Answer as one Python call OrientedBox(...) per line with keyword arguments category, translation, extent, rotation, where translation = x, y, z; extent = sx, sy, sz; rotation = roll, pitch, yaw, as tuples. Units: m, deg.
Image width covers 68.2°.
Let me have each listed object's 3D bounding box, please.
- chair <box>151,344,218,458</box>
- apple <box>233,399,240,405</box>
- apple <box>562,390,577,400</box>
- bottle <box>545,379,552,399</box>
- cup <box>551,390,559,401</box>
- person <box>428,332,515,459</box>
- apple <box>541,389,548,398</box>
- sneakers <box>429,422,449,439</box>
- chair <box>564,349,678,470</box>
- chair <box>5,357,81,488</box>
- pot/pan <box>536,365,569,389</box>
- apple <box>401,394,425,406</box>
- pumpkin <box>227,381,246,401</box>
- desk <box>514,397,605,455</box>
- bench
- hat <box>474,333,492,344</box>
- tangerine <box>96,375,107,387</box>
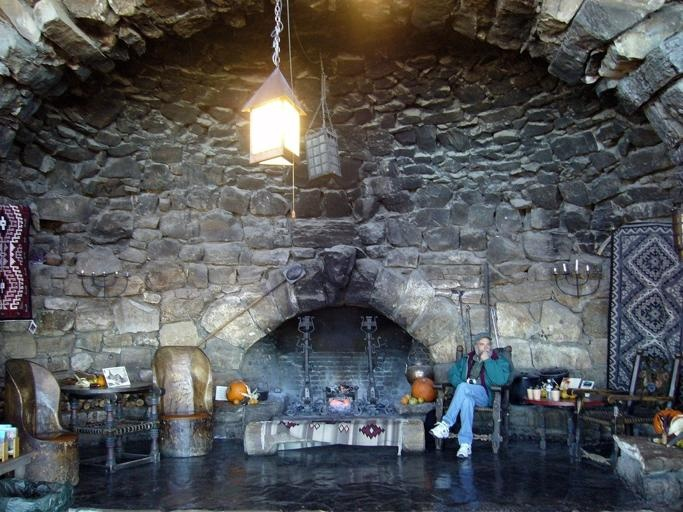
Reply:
OrientedBox(category="chair", translation=(-1.761, 1.589, 5.599), extent=(0.656, 1.148, 0.446), rotation=(2, -7, -17))
OrientedBox(category="apple", translation=(-1.286, 1.783, 6.178), extent=(0.073, 0.056, 0.033), rotation=(1, -7, -9))
OrientedBox(category="apple", translation=(2.495, 1.526, 5.543), extent=(0.150, 0.066, 0.171), rotation=(-1, -4, 35))
OrientedBox(category="bottle", translation=(2.334, 1.486, 5.647), extent=(0.078, 0.174, 0.432), rotation=(-3, -7, 22))
OrientedBox(category="cup", translation=(2.317, 1.501, 5.452), extent=(0.097, 0.104, 0.125), rotation=(-3, -7, 19))
OrientedBox(category="person", translation=(1.456, 1.532, 5.656), extent=(0.928, 1.219, 0.576), rotation=(4, -8, -34))
OrientedBox(category="apple", translation=(2.278, 1.536, 5.620), extent=(0.079, 0.058, 0.072), rotation=(-1, -5, 40))
OrientedBox(category="sneakers", translation=(1.087, 1.902, 5.506), extent=(0.125, 0.113, 0.277), rotation=(-19, -16, 26))
OrientedBox(category="chair", translation=(2.894, 1.541, 5.178), extent=(1.037, 1.057, 0.645), rotation=(2, -7, -17))
OrientedBox(category="chair", translation=(-2.656, 1.487, 4.507), extent=(0.580, 1.108, 0.694), rotation=(5, -9, -40))
OrientedBox(category="pot/pan", translation=(2.522, 1.428, 5.984), extent=(0.258, 0.212, 0.224), rotation=(-2, -5, 18))
OrientedBox(category="apple", translation=(0.860, 1.725, 6.017), extent=(0.278, 0.086, 0.164), rotation=(-1, -7, 6))
OrientedBox(category="pumpkin", translation=(-1.282, 1.682, 6.224), extent=(0.227, 0.256, 0.180), rotation=(-6, -9, 38))
OrientedBox(category="desk", translation=(2.376, 1.939, 5.761), extent=(0.790, 0.360, 0.771), rotation=(0, -11, 3))
OrientedBox(category="bench", translation=(-0.074, 1.981, 5.600), extent=(1.924, 0.360, 0.453), rotation=(0, -7, -1))
OrientedBox(category="hat", translation=(1.724, 0.995, 6.209), extent=(0.177, 0.125, 0.172), rotation=(-1, 2, -29))
OrientedBox(category="tangerine", translation=(-2.596, 1.347, 5.464), extent=(0.100, 0.039, 0.167), rotation=(4, 5, -19))
